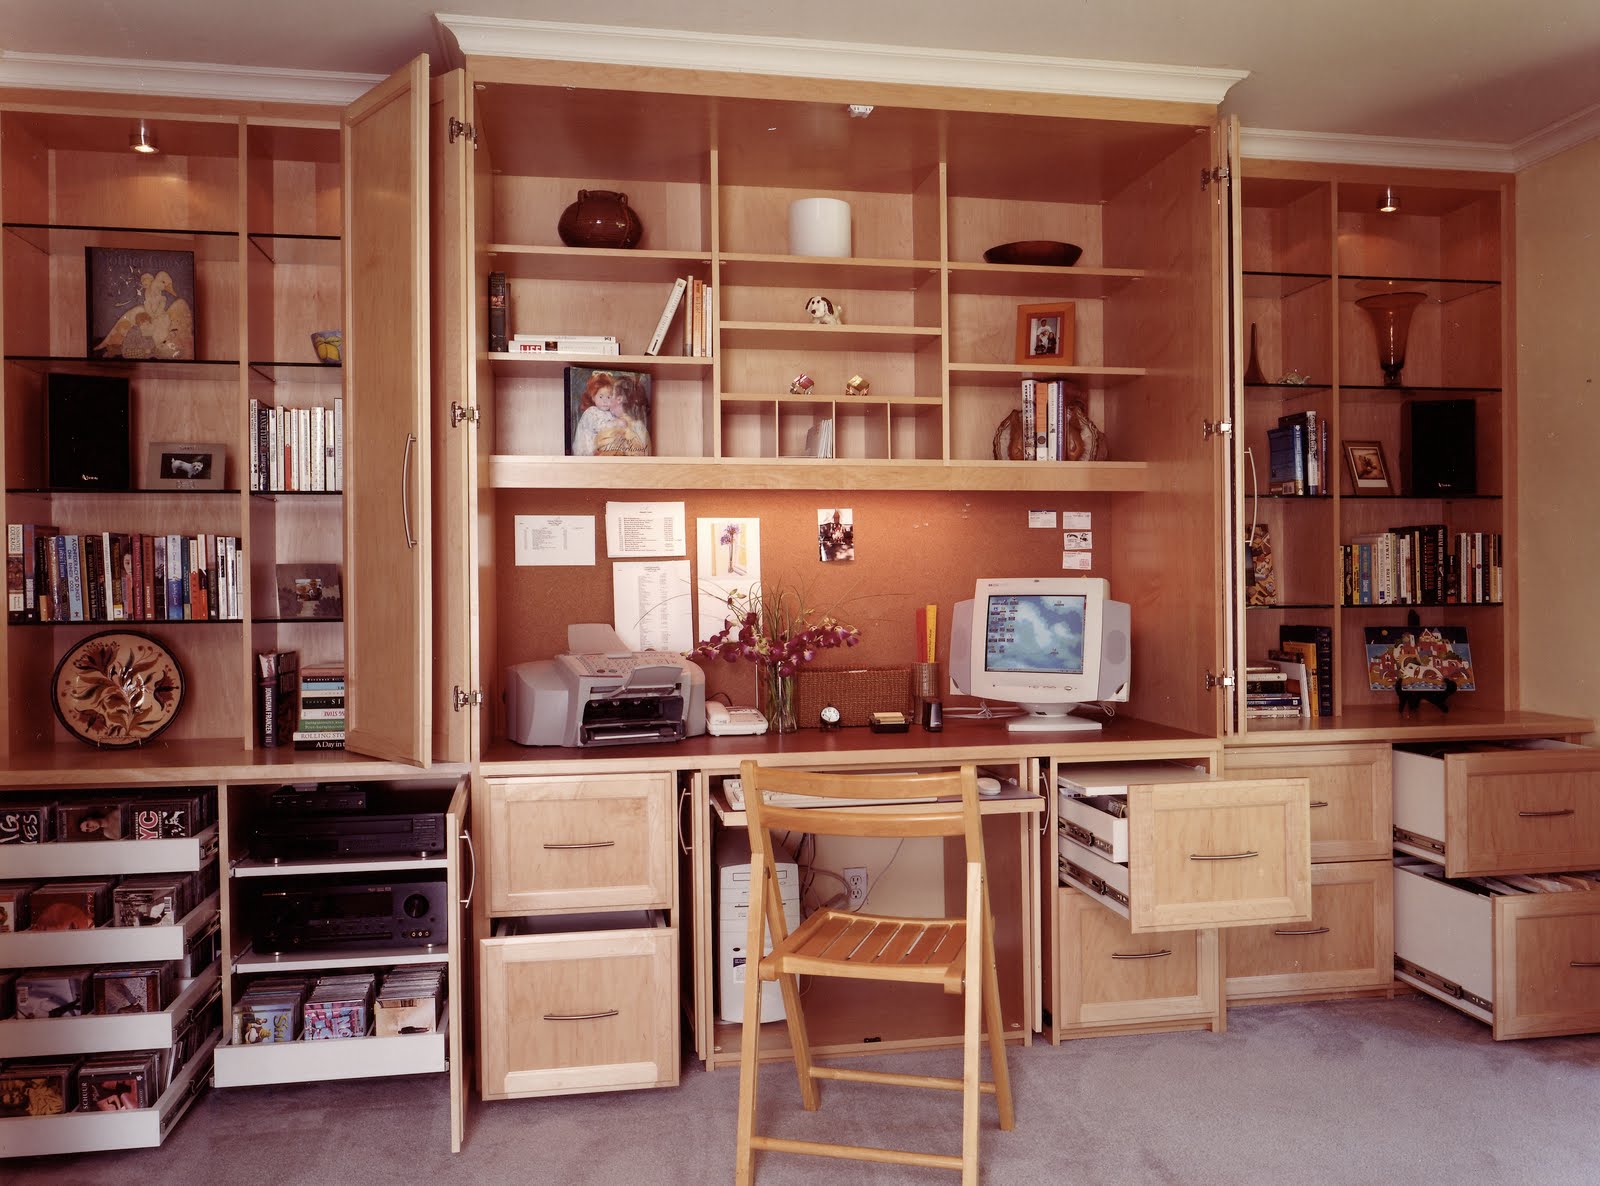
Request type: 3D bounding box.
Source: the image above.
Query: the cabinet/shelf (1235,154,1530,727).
[{"bbox_3d":[2.132,-1.040,5.355,0.894,1.544,0.409,4,44,24],"label":"cabinet/shelf"}]

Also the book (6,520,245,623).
[{"bbox_3d":[-2.178,-0.073,4.489,0.683,0.267,0.130,-2,2,-5],"label":"book"}]

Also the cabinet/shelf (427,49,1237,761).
[{"bbox_3d":[0.051,-0.656,4.701,2.417,1.933,0.674,0,-2,-12],"label":"cabinet/shelf"}]

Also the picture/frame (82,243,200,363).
[{"bbox_3d":[-2.164,-0.951,4.546,0.430,0.463,0.062,-1,1,-6],"label":"picture/frame"}]

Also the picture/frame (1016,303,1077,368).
[{"bbox_3d":[0.874,-0.924,4.938,0.282,0.325,0.025,0,-9,5],"label":"picture/frame"}]

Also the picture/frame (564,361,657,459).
[{"bbox_3d":[-0.661,-0.634,4.720,0.347,0.302,0.112,0,-4,-15],"label":"picture/frame"}]

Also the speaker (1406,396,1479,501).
[{"bbox_3d":[2.388,-0.556,5.186,0.262,0.383,0.173,-2,2,23],"label":"speaker"}]

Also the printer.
[{"bbox_3d":[-0.628,0.311,4.592,0.613,0.324,0.467,-2,11,-28],"label":"printer"}]

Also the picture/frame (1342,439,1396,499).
[{"bbox_3d":[2.116,-0.470,5.197,0.244,0.227,0.018,2,-16,-34],"label":"picture/frame"}]

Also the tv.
[{"bbox_3d":[0.819,0.172,4.921,0.449,0.530,0.308,0,21,2],"label":"tv"}]

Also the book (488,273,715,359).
[{"bbox_3d":[-0.655,-0.928,4.704,0.682,0.297,0.314,-3,2,-10],"label":"book"}]

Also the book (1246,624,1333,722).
[{"bbox_3d":[1.781,0.291,5.004,0.333,0.330,0.144,-2,-5,28],"label":"book"}]

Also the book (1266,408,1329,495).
[{"bbox_3d":[1.813,-0.518,5.070,0.206,0.307,0.122,-2,2,17],"label":"book"}]

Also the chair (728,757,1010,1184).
[{"bbox_3d":[0.210,1.037,4.101,0.792,1.198,0.898,-2,2,7],"label":"chair"}]

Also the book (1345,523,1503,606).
[{"bbox_3d":[2.274,-0.102,5.112,0.576,0.293,0.162,-3,2,-14],"label":"book"}]

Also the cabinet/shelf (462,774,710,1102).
[{"bbox_3d":[-0.692,1.041,4.319,0.627,1.009,0.328,-3,2,-11],"label":"cabinet/shelf"}]

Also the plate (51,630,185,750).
[{"bbox_3d":[-2.252,0.307,4.573,0.384,0.366,0.120,-7,1,-19],"label":"plate"}]
